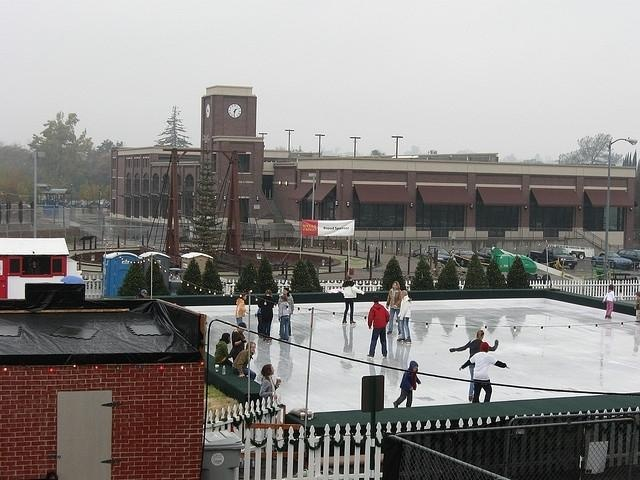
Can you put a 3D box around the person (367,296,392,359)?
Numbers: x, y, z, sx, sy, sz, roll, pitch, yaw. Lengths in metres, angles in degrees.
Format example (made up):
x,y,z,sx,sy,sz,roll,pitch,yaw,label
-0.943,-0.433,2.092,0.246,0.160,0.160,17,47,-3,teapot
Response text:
x,y,z,sx,sy,sz,roll,pitch,yaw,label
1.885,2.738,41.515,0.510,1.836,0.797,0,0,5,person

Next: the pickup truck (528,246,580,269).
x,y,z,sx,sy,sz,roll,pitch,yaw,label
14.166,1.361,79.002,1.481,1.481,3.335,0,3,-33,pickup truck
